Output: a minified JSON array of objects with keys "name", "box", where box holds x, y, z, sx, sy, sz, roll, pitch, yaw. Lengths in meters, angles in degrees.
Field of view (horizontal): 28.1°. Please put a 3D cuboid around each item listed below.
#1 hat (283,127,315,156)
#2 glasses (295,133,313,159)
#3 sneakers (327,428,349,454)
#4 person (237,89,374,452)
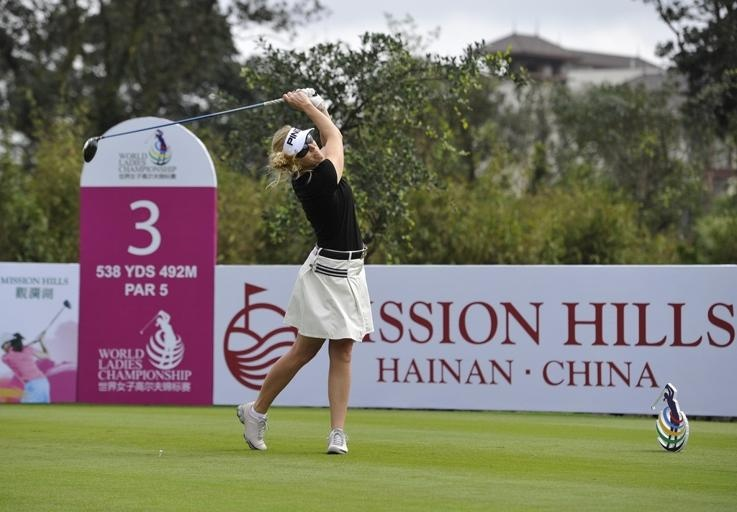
[{"name":"hat","box":[-0.802,-1.311,16.838,0.362,0.333,0.211,-4,4,-8]},{"name":"glasses","box":[-0.719,-1.272,16.798,0.061,0.276,0.165,17,0,-9]},{"name":"sneakers","box":[-0.354,2.104,16.894,0.248,0.281,0.326,-3,4,-1]},{"name":"person","box":[-0.663,0.166,16.959,1.336,4.163,0.725,-3,4,0]}]
